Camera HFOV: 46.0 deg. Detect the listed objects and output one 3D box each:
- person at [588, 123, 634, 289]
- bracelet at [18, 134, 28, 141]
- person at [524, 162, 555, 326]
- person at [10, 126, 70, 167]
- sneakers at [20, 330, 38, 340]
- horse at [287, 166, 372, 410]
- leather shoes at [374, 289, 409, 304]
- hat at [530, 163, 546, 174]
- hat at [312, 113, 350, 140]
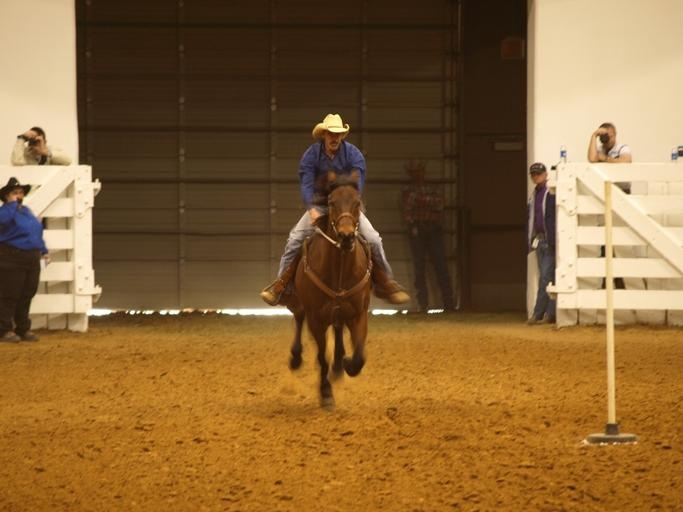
[{"bbox_3d":[4.605,-0.929,13.860,0.719,2.713,1.584,1,8,18],"label":"person"},{"bbox_3d":[-5.580,-2.062,14.085,0.151,0.129,0.257,-6,10,-31],"label":"bracelet"},{"bbox_3d":[3.597,-0.215,14.401,0.469,2.865,0.754,1,7,14],"label":"person"},{"bbox_3d":[-5.376,-1.833,13.972,0.642,0.390,0.915,-3,-13,-6],"label":"person"},{"bbox_3d":[-5.056,1.305,13.018,0.256,0.129,0.245,-3,9,-13],"label":"sneakers"},{"bbox_3d":[-0.094,0.364,9.667,0.799,2.722,1.781,-3,8,-14],"label":"horse"},{"bbox_3d":[0.654,0.562,10.487,0.342,0.169,0.211,-2,7,24],"label":"leather shoes"},{"bbox_3d":[3.513,-1.555,14.358,0.304,0.215,0.296,1,9,16],"label":"hat"},{"bbox_3d":[-0.125,-1.577,9.784,0.308,0.260,0.645,-3,9,-15],"label":"hat"}]
